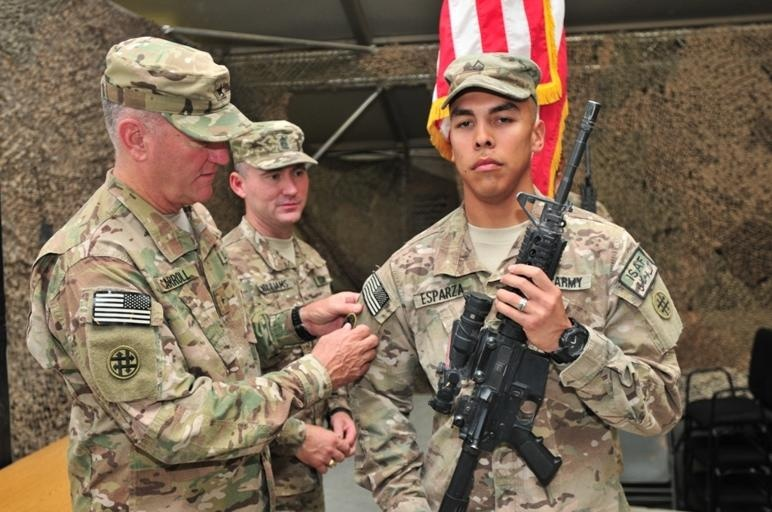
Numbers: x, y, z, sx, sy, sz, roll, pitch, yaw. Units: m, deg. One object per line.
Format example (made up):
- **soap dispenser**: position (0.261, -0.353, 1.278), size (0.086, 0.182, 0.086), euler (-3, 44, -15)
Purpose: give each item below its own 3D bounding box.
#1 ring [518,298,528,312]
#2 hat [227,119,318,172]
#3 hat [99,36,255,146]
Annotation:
- **ring**: position (0.712, 0.249, 4.336), size (0.013, 0.057, 0.056), euler (8, -11, -3)
- **hat**: position (-0.831, -0.798, 5.879), size (0.494, 0.205, 0.360), euler (16, 20, 42)
- **hat**: position (-1.137, -0.903, 4.584), size (0.740, 0.372, 0.508), euler (20, 25, 5)
